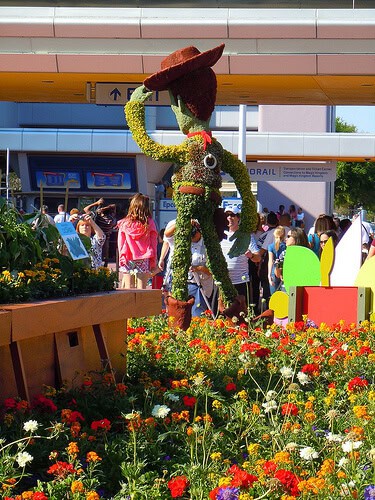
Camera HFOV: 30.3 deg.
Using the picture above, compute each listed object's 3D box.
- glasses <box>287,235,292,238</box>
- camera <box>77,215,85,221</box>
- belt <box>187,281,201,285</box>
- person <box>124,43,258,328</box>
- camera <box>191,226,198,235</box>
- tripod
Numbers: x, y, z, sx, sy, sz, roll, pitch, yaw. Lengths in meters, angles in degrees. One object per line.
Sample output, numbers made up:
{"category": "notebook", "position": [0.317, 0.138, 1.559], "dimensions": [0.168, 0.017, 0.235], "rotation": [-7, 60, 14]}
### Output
{"category": "glasses", "position": [1.186, -0.172, 8.061], "dimensions": [0.064, 0.044, 0.036], "rotation": [13, 21, 29]}
{"category": "camera", "position": [-1.326, -0.415, 8.632], "dimensions": [0.113, 0.045, 0.127], "rotation": [4, 13, 15]}
{"category": "belt", "position": [0.073, 0.336, 7.253], "dimensions": [0.080, 0.027, 0.058], "rotation": [3, -8, 7]}
{"category": "person", "position": [0.065, -0.601, 6.246], "dimensions": [1.131, 2.505, 0.811], "rotation": [-4, 6, -5]}
{"category": "camera", "position": [0.072, -0.205, 6.862], "dimensions": [0.061, 0.074, 0.067], "rotation": [2, -21, -10]}
{"category": "tripod", "position": [0.018, 0.381, 6.634], "dimensions": [0.424, 0.573, 0.428], "rotation": [9, 38, 24]}
